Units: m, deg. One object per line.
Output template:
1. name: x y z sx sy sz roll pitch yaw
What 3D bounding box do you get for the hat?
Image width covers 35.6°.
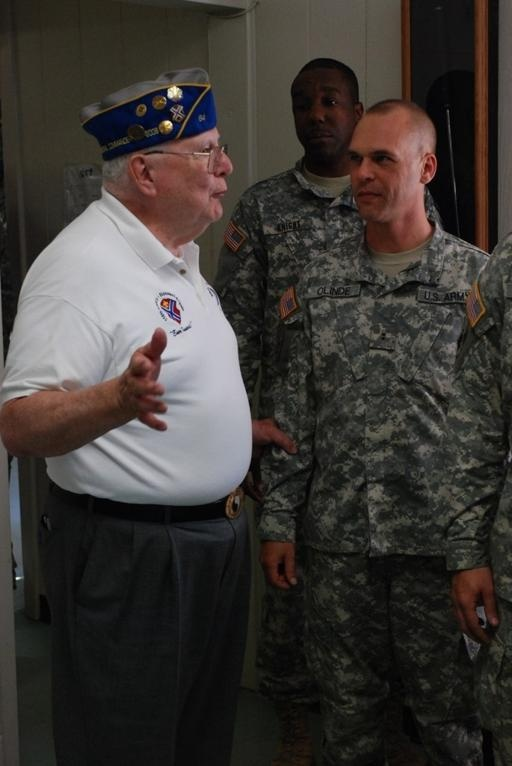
1. hat: -0.216 -0.509 1.604 0.274 0.101 0.246 -9 7 21
